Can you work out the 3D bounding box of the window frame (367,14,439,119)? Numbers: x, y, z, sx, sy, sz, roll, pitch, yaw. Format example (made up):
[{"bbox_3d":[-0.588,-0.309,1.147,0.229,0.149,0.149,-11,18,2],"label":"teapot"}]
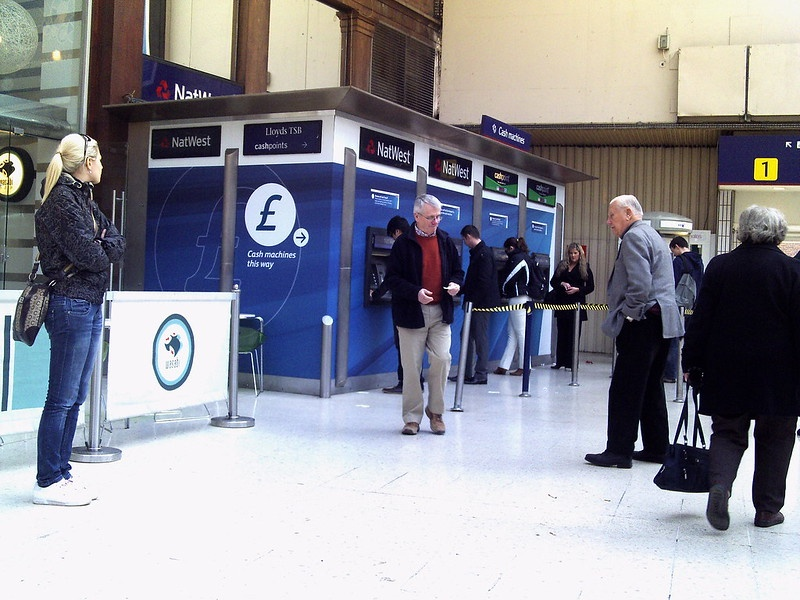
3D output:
[{"bbox_3d":[0.054,-4.402,13.635,0.136,1.361,1.925,2,1,39],"label":"window frame"}]

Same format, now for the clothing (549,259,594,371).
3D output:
[{"bbox_3d":[2.688,0.209,11.310,0.630,1.857,0.533,4,-1,36],"label":"clothing"}]

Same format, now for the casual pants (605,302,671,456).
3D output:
[{"bbox_3d":[1.892,0.586,5.464,0.407,1.164,0.495,-10,10,7],"label":"casual pants"}]

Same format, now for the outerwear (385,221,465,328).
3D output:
[{"bbox_3d":[0.230,-0.190,6.262,0.696,0.891,0.474,-2,0,-21],"label":"outerwear"}]

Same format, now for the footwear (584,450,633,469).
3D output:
[{"bbox_3d":[1.585,1.197,5.450,0.367,0.170,0.135,4,-2,18],"label":"footwear"}]

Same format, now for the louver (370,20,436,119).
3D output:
[{"bbox_3d":[0.065,-4.379,13.626,0.174,1.409,2.012,1,-1,37],"label":"louver"}]

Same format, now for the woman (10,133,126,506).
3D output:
[{"bbox_3d":[-1.978,0.094,4.362,0.695,2.228,0.638,1,-2,-40],"label":"woman"}]

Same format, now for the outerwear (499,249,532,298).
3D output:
[{"bbox_3d":[1.536,-0.338,10.066,0.501,0.836,0.706,3,4,18],"label":"outerwear"}]

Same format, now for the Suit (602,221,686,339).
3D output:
[{"bbox_3d":[1.784,-0.143,5.210,0.553,0.895,0.397,2,2,16],"label":"Suit"}]

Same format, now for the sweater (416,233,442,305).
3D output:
[{"bbox_3d":[0.267,-0.289,6.202,0.125,0.551,0.280,-3,-8,33],"label":"sweater"}]

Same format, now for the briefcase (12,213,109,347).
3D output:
[{"bbox_3d":[-2.102,-0.051,4.287,0.375,0.667,0.273,4,-10,46],"label":"briefcase"}]

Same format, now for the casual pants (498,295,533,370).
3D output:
[{"bbox_3d":[1.685,0.588,10.365,0.274,0.926,0.287,-4,-15,-8],"label":"casual pants"}]

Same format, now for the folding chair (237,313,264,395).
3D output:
[{"bbox_3d":[-1.665,0.624,7.946,0.273,0.877,0.837,1,2,-12],"label":"folding chair"}]

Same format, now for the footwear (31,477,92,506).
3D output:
[{"bbox_3d":[-2.006,1.147,4.186,0.276,0.115,0.156,2,2,-4],"label":"footwear"}]
